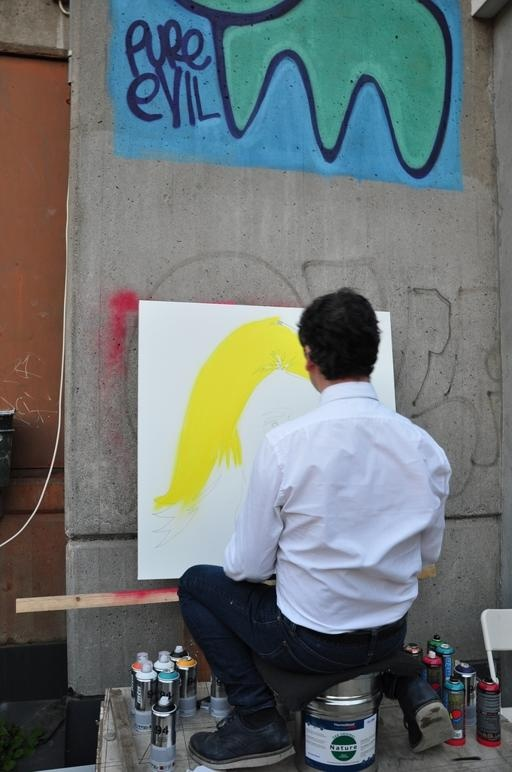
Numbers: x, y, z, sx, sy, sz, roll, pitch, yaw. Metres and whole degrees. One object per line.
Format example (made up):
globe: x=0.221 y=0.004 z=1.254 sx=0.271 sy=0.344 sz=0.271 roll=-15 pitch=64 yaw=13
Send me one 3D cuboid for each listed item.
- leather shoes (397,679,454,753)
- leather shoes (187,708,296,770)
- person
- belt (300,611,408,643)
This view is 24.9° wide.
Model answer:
leather shoes: x=0.577 y=1.148 z=4.071 sx=0.107 sy=0.335 sz=0.227 roll=-9 pitch=27 yaw=-8
leather shoes: x=-0.048 y=1.262 z=4.129 sx=0.371 sy=0.196 sz=0.178 roll=-1 pitch=-16 yaw=4
person: x=0.196 y=0.504 z=4.042 sx=0.958 sy=1.648 sz=0.426 roll=-3 pitch=-2 yaw=9
belt: x=0.345 y=0.848 z=3.955 sx=0.395 sy=0.047 sz=0.102 roll=-3 pitch=-1 yaw=-16
